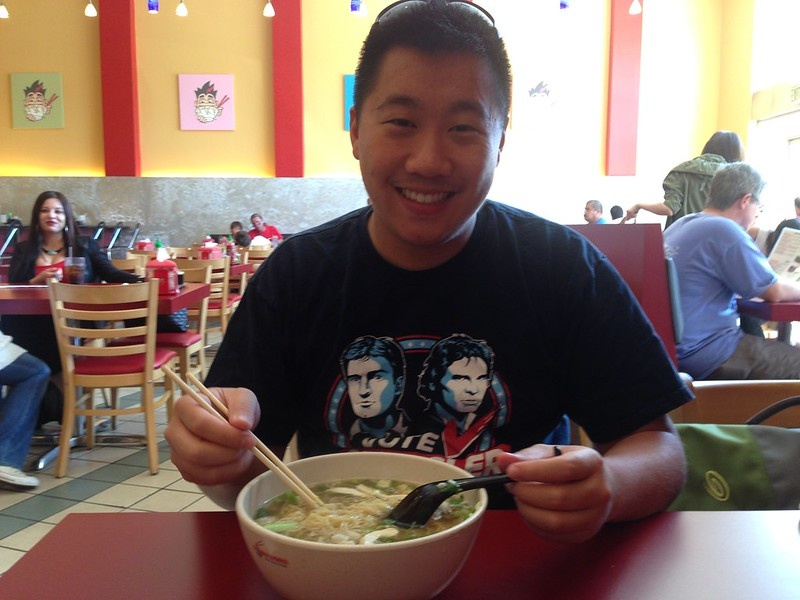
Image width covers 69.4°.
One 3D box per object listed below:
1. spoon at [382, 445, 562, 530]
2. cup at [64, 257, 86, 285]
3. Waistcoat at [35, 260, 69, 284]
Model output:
[{"bbox_3d":[0.099,0.255,0.788,0.238,0.035,0.054,-12,42,-9],"label":"spoon"},{"bbox_3d":[-2.044,-0.176,3.614,0.130,0.154,0.441,-6,10,-29],"label":"cup"},{"bbox_3d":[-2.296,-0.178,3.794,0.248,0.110,0.310,-3,-2,-20],"label":"Waistcoat"}]
